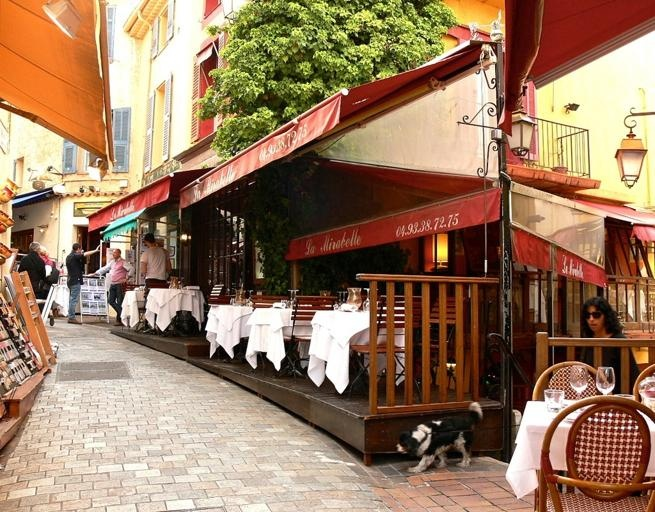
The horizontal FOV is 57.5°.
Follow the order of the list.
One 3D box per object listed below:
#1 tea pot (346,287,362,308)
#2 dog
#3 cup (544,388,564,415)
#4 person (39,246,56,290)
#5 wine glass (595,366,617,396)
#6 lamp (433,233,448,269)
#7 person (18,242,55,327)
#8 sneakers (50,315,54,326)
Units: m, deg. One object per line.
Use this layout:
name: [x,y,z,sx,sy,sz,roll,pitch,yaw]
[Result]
tea pot: [0.331,0.523,7.504,0.198,0.303,0.216,0,-1,0]
dog: [1.117,1.776,5.788,1.147,0.801,0.347,4,-11,-30]
cup: [1.620,1.043,4.273,0.131,0.158,0.135,2,-8,0]
person: [-7.806,0.283,16.814,0.451,1.191,0.420,-6,3,22]
wine glass: [1.986,0.886,4.268,0.108,0.211,0.191,2,0,24]
lamp: [2.506,-0.120,13.174,0.337,0.786,0.327,2,0,-1]
person: [-6.303,0.542,13.024,0.551,1.754,0.472,10,20,7]
sneakers: [-7.237,1.676,15.686,0.095,0.319,0.123,-3,-15,-35]
